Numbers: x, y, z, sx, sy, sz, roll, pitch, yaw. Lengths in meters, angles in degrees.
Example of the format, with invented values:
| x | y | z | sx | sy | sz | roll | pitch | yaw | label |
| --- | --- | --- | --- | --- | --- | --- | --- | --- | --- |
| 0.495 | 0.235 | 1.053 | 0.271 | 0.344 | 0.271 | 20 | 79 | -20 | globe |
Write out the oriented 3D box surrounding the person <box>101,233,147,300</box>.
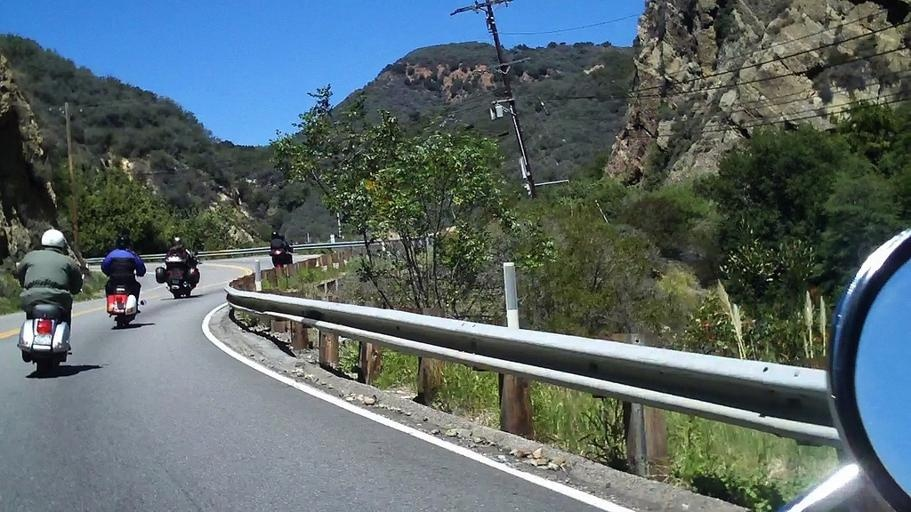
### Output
| x | y | z | sx | sy | sz | roll | pitch | yaw | label |
| --- | --- | --- | --- | --- | --- | --- | --- | --- | --- |
| -9.070 | 0.390 | 17.815 | 0.965 | 1.898 | 1.564 | -4 | 4 | -28 | person |

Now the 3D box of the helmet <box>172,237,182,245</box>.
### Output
| x | y | z | sx | sy | sz | roll | pitch | yaw | label |
| --- | --- | --- | --- | --- | --- | --- | --- | --- | --- |
| -10.917 | -0.648 | 25.609 | 0.332 | 0.371 | 0.408 | 3 | -13 | -24 | helmet |

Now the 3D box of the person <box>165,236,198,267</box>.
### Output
| x | y | z | sx | sy | sz | roll | pitch | yaw | label |
| --- | --- | --- | --- | --- | --- | --- | --- | --- | --- |
| -11.393 | -0.160 | 26.810 | 0.935 | 1.049 | 1.815 | 1 | 11 | -8 | person |

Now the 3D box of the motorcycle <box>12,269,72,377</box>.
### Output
| x | y | z | sx | sy | sz | roll | pitch | yaw | label |
| --- | --- | --- | --- | --- | --- | --- | --- | --- | --- |
| -7.621 | 1.488 | 12.156 | 0.756 | 1.035 | 1.801 | -1 | 1 | -17 | motorcycle |
